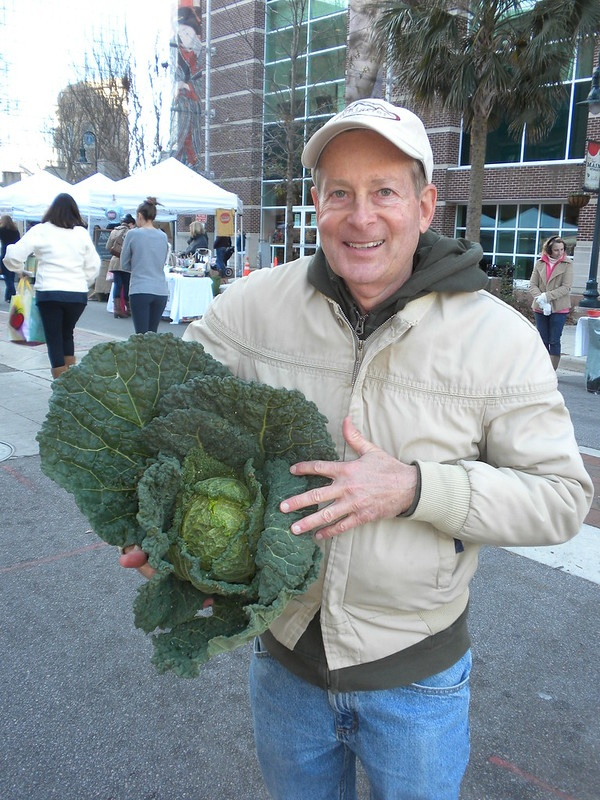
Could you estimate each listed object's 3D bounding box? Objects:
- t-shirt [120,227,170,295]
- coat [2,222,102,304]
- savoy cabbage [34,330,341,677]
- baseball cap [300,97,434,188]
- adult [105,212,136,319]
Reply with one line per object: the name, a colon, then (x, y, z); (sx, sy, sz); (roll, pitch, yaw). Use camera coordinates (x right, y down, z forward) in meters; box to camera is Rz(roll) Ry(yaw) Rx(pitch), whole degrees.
t-shirt: (-2.287, -2.097, 9.032); (0.667, 0.964, 0.552); (-4, 21, -33)
coat: (-2.908, -1.684, 7.159); (1.005, 0.813, 0.691); (-3, 16, -20)
savoy cabbage: (-0.176, 0.247, 1.253); (0.667, 0.293, 0.482); (37, 58, 20)
baseball cap: (0.158, -0.503, 1.281); (0.214, 0.321, 0.154); (3, -28, 7)
adult: (-4.152, -3.212, 14.397); (0.856, 2.254, 0.773); (12, 14, 23)
